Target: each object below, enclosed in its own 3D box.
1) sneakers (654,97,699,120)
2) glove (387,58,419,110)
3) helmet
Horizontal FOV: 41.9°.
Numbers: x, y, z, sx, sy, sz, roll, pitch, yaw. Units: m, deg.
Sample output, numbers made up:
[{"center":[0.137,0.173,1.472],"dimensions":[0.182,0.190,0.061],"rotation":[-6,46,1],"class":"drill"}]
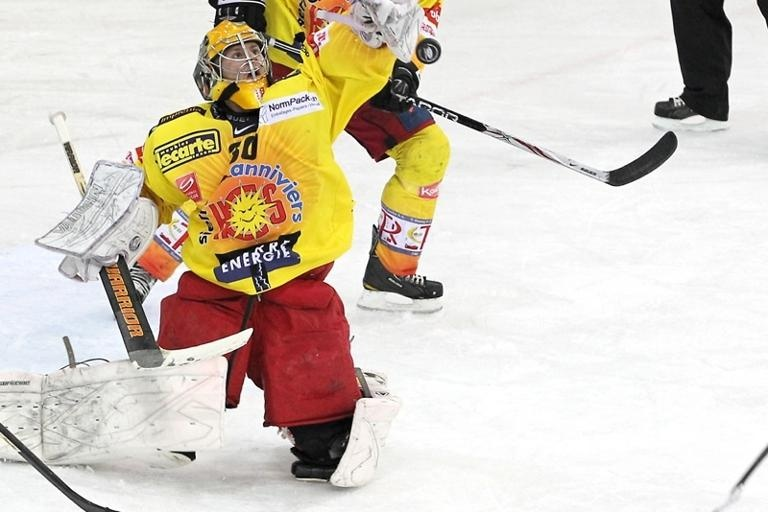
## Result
[{"center":[1.867,-0.944,6.476],"dimensions":[0.153,0.074,0.255],"rotation":[-14,12,-36],"class":"sneakers"},{"center":[0.071,-0.653,3.824],"dimensions":[0.152,0.166,0.087],"rotation":[8,-13,-9],"class":"glove"},{"center":[-0.512,-0.655,3.426],"dimensions":[0.327,0.243,0.354],"rotation":[-10,11,-22],"class":"helmet"}]
